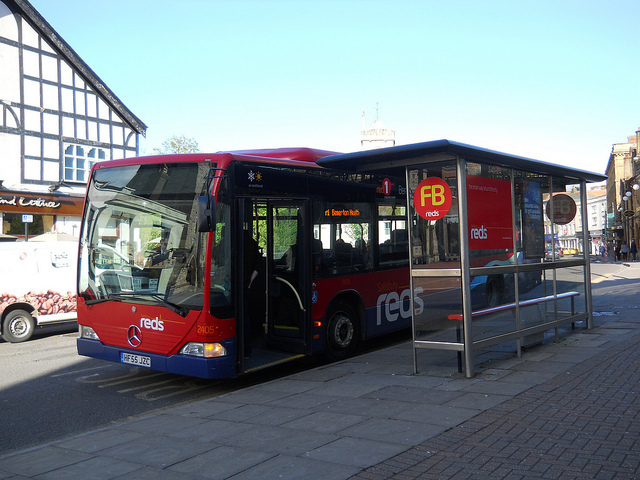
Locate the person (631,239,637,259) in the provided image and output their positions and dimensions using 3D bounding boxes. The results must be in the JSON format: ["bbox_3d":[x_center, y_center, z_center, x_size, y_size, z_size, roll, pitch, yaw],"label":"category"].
[{"bbox_3d":[25.243,0.824,43.429,0.314,1.134,1.851,-2,1,29],"label":"person"}]

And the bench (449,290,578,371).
[{"bbox_3d":[3.518,1.548,9.790,4.001,1.045,0.636,-4,2,-45],"label":"bench"}]

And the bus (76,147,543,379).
[{"bbox_3d":[1.363,0.187,12.687,3.407,3.994,12.595,-2,0,41],"label":"bus"}]
